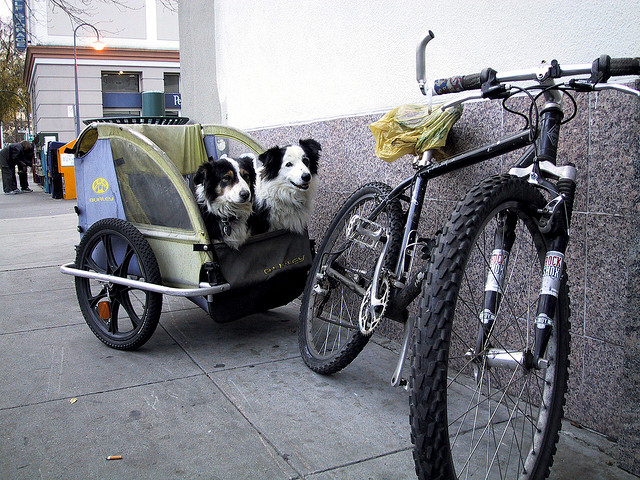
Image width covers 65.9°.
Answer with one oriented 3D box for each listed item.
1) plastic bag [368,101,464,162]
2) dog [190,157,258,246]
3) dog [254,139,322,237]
[{"bbox_3d":[0.766,-0.805,3.531,0.587,0.305,0.462,3,13,44],"label":"plastic bag"},{"bbox_3d":[-0.797,-0.322,4.145,0.623,0.769,0.604,5,6,25],"label":"dog"},{"bbox_3d":[-0.290,-0.433,4.148,0.459,0.667,0.832,0,-2,-21],"label":"dog"}]
